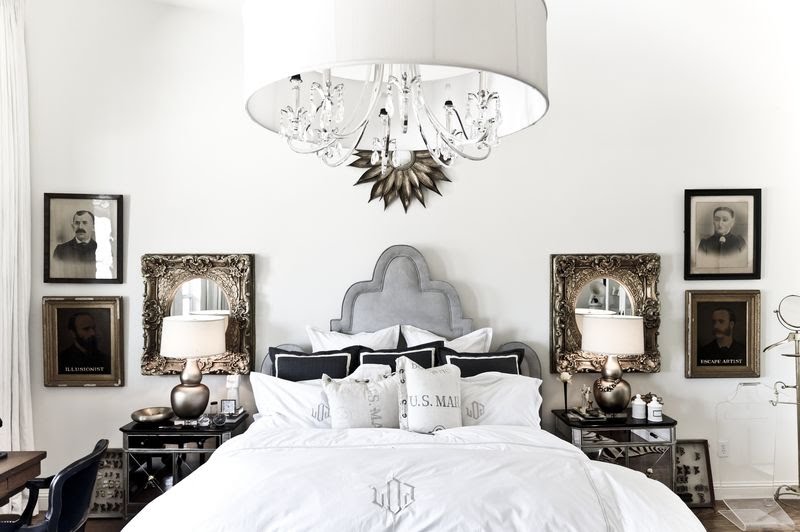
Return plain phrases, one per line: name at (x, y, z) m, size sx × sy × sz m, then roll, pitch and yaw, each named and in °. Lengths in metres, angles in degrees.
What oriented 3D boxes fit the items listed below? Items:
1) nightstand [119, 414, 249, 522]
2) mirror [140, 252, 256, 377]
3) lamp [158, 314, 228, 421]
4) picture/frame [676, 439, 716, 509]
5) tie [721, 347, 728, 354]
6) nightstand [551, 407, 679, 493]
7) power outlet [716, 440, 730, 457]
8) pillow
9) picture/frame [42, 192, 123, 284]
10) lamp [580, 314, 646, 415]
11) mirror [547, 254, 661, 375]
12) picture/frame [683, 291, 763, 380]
nightstand at (-1.772, 1.542, 6.559) m, size 0.989 × 1.041 × 0.733 m, roll -1°, pitch -5°, yaw -2°
mirror at (-1.760, 0.435, 6.638) m, size 1.007 × 1.145 × 0.157 m, roll 0°, pitch -1°, yaw -5°
lamp at (-1.781, 0.865, 6.540) m, size 0.504 × 0.813 × 0.518 m, roll 2°, pitch -1°, yaw -10°
picture/frame at (2.549, 1.807, 6.806) m, size 0.030 × 0.543 × 0.461 m, roll 4°, pitch -12°, yaw -25°
tie at (2.871, 0.750, 6.837) m, size 0.045 × 0.047 × 0.011 m, roll 15°, pitch -16°, yaw 14°
nightstand at (1.808, 1.468, 6.680) m, size 0.779 × 1.064 × 0.622 m, roll 0°, pitch -3°, yaw -2°
power outlet at (2.832, 1.607, 6.769) m, size 0.136 × 0.169 × 0.018 m, roll 3°, pitch -9°, yaw -5°
pillow at (0.002, 0.948, 6.270) m, size 1.510 × 0.684 × 0.908 m, roll 0°, pitch -1°, yaw -1°
picture/frame at (-2.795, -0.248, 6.698) m, size 0.731 × 0.961 × 0.060 m, roll 0°, pitch 4°, yaw -3°
lamp at (1.831, 0.836, 6.678) m, size 0.510 × 0.825 × 0.503 m, roll 2°, pitch 2°, yaw 41°
mirror at (1.745, 0.433, 6.718) m, size 0.981 × 1.113 × 0.144 m, roll 0°, pitch -1°, yaw -9°
picture/frame at (2.840, 0.597, 6.834) m, size 0.721 × 0.952 × 0.067 m, roll 0°, pitch 0°, yaw 1°
